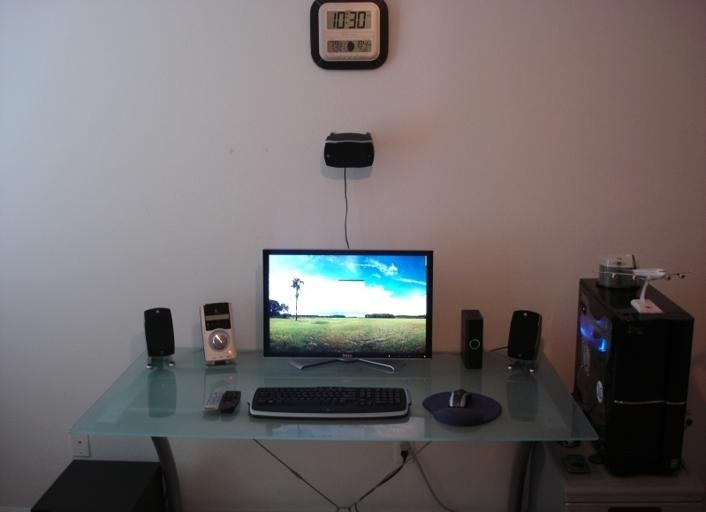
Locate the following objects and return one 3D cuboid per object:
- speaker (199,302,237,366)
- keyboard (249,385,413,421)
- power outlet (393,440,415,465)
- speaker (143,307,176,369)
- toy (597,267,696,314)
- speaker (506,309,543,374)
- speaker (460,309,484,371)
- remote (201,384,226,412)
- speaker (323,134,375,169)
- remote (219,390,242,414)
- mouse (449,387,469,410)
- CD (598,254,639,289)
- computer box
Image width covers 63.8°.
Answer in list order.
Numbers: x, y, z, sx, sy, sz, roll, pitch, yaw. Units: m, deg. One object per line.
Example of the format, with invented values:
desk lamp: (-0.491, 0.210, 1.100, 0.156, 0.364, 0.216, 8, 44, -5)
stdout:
speaker: (-0.655, 0.354, 2.781, 0.164, 0.308, 0.166, -7, 13, -18)
keyboard: (-0.096, 0.605, 2.349, 0.660, 0.095, 0.162, -2, 8, 0)
power outlet: (0.269, 1.008, 2.966, 0.132, 0.146, 0.033, 2, 2, 0)
speaker: (-0.944, 0.380, 2.752, 0.123, 0.278, 0.107, -5, 6, -26)
toy: (1.197, 0.138, 2.318, 0.279, 0.143, 0.215, 0, 3, 13)
speaker: (0.825, 0.389, 2.696, 0.163, 0.271, 0.140, 2, 1, -43)
speaker: (0.559, 0.398, 2.667, 0.095, 0.296, 0.241, 0, 4, 3)
remote: (-0.586, 0.593, 2.364, 0.044, 0.014, 0.132, -1, 24, -1)
speaker: (-0.022, -0.487, 2.628, 0.199, 0.156, 0.156, 0, 18, 1)
remote: (-0.515, 0.607, 2.369, 0.081, 0.046, 0.133, -2, 8, -5)
mouse: (0.438, 0.590, 2.358, 0.088, 0.050, 0.095, -1, 8, 4)
CD: (1.171, 0.066, 2.493, 0.141, 0.111, 0.148, -1, 1, -1)
computer box: (1.146, 0.488, 2.391, 0.336, 0.696, 0.450, -1, 7, 7)
